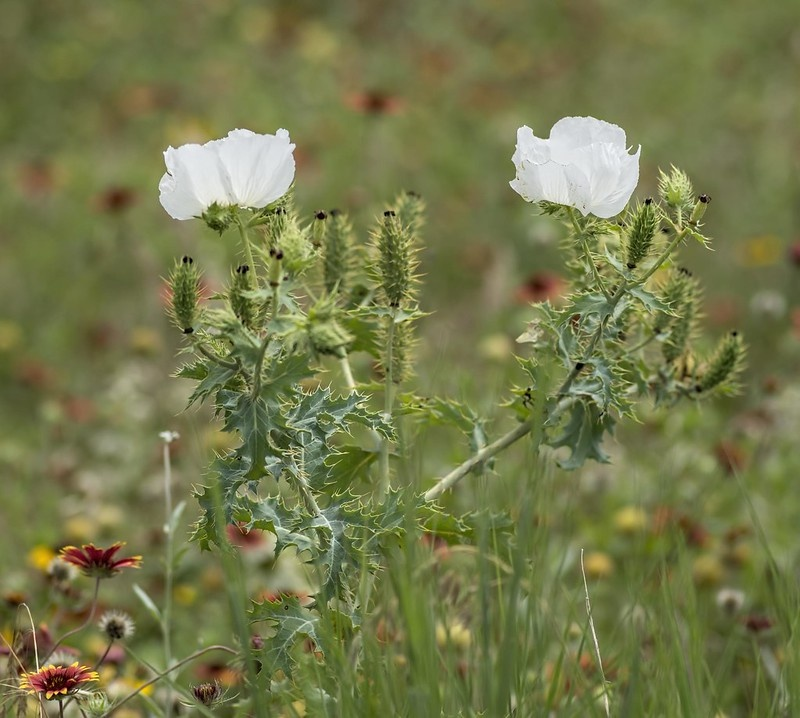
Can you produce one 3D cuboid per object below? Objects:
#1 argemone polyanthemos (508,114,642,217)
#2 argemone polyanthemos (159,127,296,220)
[{"bbox_3d":[0.324,-0.361,2.324,0.201,0.108,0.197,-6,40,-20],"label":"argemone polyanthemos"},{"bbox_3d":[-0.322,-0.343,2.343,0.277,0.132,0.283,-13,-1,36],"label":"argemone polyanthemos"}]
